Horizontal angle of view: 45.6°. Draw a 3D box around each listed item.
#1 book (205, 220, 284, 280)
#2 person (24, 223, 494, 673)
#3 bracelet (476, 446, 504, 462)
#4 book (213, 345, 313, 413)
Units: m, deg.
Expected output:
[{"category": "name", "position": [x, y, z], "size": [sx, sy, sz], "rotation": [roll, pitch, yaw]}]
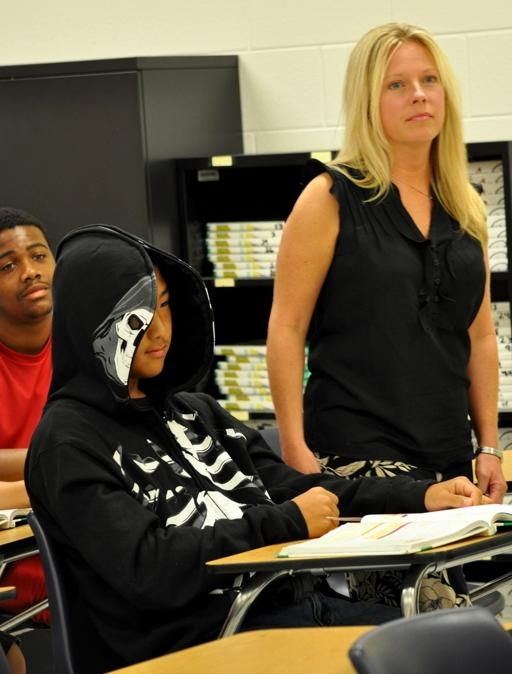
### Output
[{"category": "book", "position": [-0.018, -0.409, 3.280], "size": [0.459, 0.373, 0.313], "rotation": [0, 2, 6]}, {"category": "person", "position": [0.058, 0.210, 1.701], "size": [0.990, 1.392, 0.759], "rotation": [-12, -5, 18]}, {"category": "bracelet", "position": [0.623, 0.300, 1.620], "size": [0.054, 0.046, 0.052], "rotation": [4, 11, 5]}, {"category": "book", "position": [-0.025, 0.209, 3.199], "size": [0.576, 0.286, 0.351], "rotation": [1, 2, 2]}]
